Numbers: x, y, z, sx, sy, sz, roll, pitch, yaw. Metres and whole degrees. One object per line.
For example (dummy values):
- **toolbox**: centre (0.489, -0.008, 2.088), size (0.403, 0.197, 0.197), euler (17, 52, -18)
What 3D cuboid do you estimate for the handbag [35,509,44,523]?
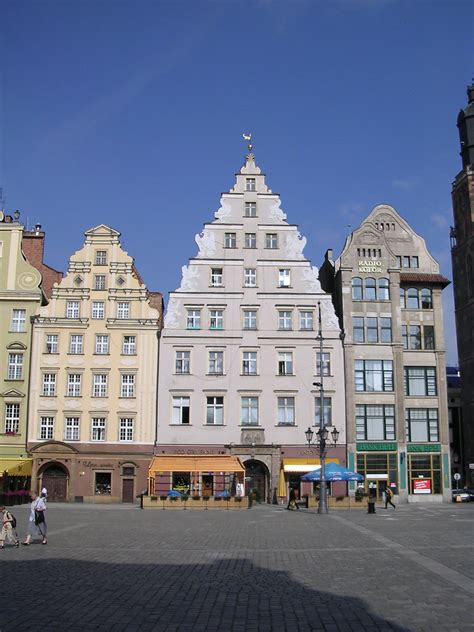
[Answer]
- **handbag**: centre (-5.891, 6.055, 19.946), size (0.198, 0.393, 0.299), euler (-9, -15, 33)

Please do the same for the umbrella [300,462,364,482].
- **umbrella**: centre (6.203, 10.176, 42.578), size (2.250, 1.033, 2.265), euler (0, -19, -4)

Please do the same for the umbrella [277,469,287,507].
- **umbrella**: centre (3.361, 12.864, 50.163), size (0.764, 2.403, 0.879), euler (-3, -12, 6)
